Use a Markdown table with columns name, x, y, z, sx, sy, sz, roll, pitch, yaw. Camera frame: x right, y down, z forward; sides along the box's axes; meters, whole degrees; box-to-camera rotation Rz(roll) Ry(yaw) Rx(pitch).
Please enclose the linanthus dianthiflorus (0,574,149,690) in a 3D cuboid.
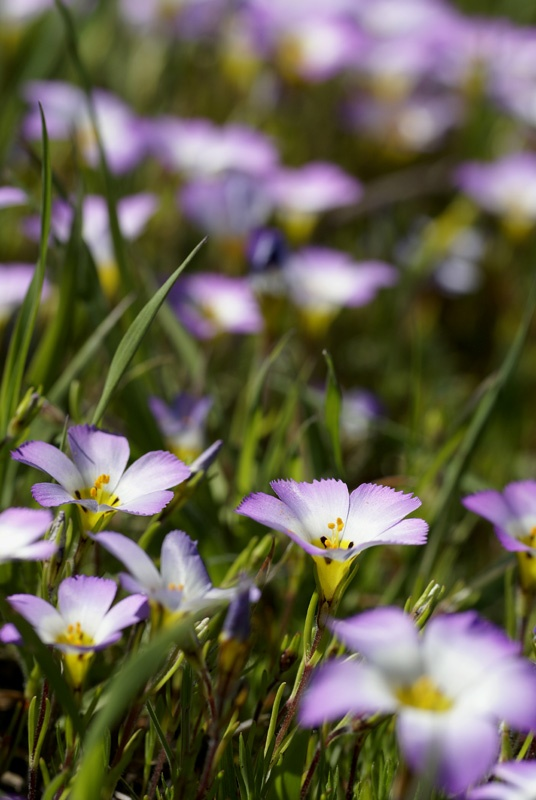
| name | x | y | z | sx | sy | sz | roll | pitch | yaw |
| --- | --- | --- | --- | --- | --- | --- | --- | --- | --- |
| linanthus dianthiflorus | -0.123 | 0.141 | 0.467 | 0.067 | 0.052 | 0.075 | 11 | 34 | 18 |
